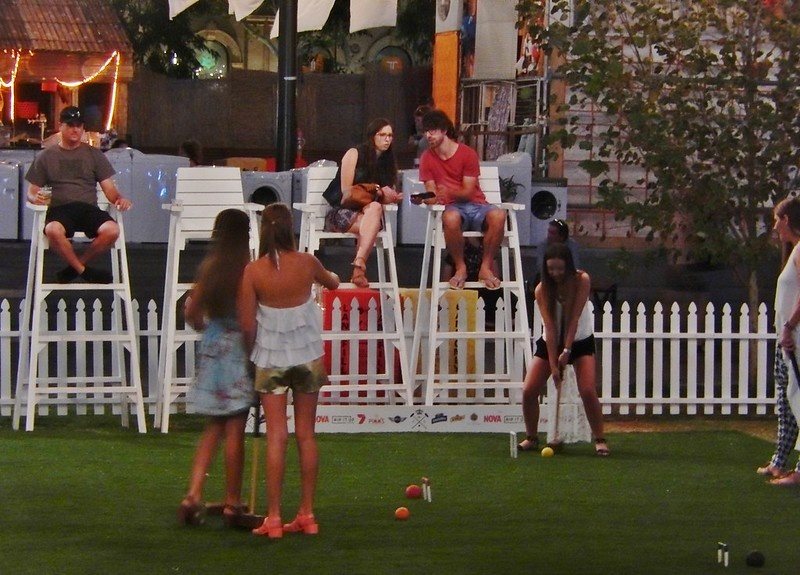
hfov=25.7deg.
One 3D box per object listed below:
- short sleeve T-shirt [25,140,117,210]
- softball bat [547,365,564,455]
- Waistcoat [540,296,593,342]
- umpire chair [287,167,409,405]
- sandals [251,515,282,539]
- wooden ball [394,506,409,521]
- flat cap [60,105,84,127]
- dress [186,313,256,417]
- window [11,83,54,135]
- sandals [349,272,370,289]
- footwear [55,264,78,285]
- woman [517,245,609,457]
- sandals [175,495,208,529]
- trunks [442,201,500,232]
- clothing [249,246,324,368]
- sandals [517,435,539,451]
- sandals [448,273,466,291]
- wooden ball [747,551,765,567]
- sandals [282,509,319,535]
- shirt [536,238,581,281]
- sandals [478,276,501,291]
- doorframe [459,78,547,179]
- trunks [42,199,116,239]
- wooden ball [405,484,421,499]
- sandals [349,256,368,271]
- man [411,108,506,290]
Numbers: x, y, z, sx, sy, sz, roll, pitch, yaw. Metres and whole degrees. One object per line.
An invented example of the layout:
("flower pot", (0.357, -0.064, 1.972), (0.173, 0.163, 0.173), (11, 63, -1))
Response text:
("short sleeve T-shirt", (-4.081, -1.392, 21.809), (1.057, 0.829, 0.468), (-5, 19, -13))
("softball bat", (1.843, 1.449, 20.871), (0.189, 1.305, 0.219), (21, 48, 21))
("Waistcoat", (2.074, 0.383, 20.774), (0.475, 0.574, 0.502), (-1, 4, -9))
("umpire chair", (-0.471, 0.477, 22.129), (1.336, 3.125, 1.373), (3, 23, 6))
("sandals", (-1.386, 2.478, 18.120), (0.328, 0.179, 0.152), (5, 3, 41))
("wooden ball", (0.011, 2.404, 18.576), (0.192, 0.126, 0.190), (0, -2, 0))
("flat cap", (-4.064, -2.132, 21.645), (0.266, 0.238, 0.464), (1, -2, -12))
("dress", (-1.916, 0.838, 18.589), (0.957, 1.464, 0.819), (1, -5, -9))
("window", (-8.050, -3.991, 38.639), (1.034, 1.128, 0.687), (1, -2, -2))
("sandals", (-0.492, -0.091, 21.519), (0.220, 0.170, 0.303), (1, -2, -2))
("footwear", (-4.315, -0.175, 22.640), (0.116, 0.229, 0.327), (28, 41, 21))
("woman", (1.942, 0.731, 20.636), (1.032, 2.488, 0.709), (0, -2, 7))
("sandals", (-2.188, 2.365, 18.303), (0.269, 0.306, 0.137), (2, 10, 0))
("trunks", (0.853, -0.895, 21.824), (0.590, 0.372, 0.268), (0, -2, 2))
("clothing", (-1.096, 0.443, 18.285), (0.750, 0.890, 0.624), (-9, -5, 19))
("sandals", (1.523, 1.865, 20.870), (0.286, 0.128, 0.108), (3, -3, -15))
("sandals", (0.698, -0.074, 21.691), (0.173, 0.139, 0.329), (0, -5, 1))
("wooden ball", (3.589, 2.757, 17.716), (0.194, 0.161, 0.114), (0, -2, 4))
("sandals", (-1.032, 2.432, 18.160), (0.334, 0.181, 0.197), (4, 2, 38))
("shirt", (1.989, -0.362, 22.069), (0.609, 0.665, 0.360), (0, -2, 1))
("sandals", (1.109, -0.069, 21.706), (0.262, 0.154, 0.376), (0, -2, 1))
("doorframe", (1.818, -2.983, 32.393), (1.611, 1.672, 0.524), (6, 8, 35))
("trunks", (-3.988, -0.910, 21.579), (0.558, 0.276, 0.493), (-3, 19, -14))
("wooden ball", (0.135, 2.229, 19.073), (0.135, 0.149, 0.141), (-2, 21, 1))
("sandals", (-0.499, -0.301, 21.535), (0.139, 0.155, 0.191), (1, -2, -12))
("man", (0.735, -1.097, 21.867), (1.128, 2.214, 0.639), (0, -2, 3))
